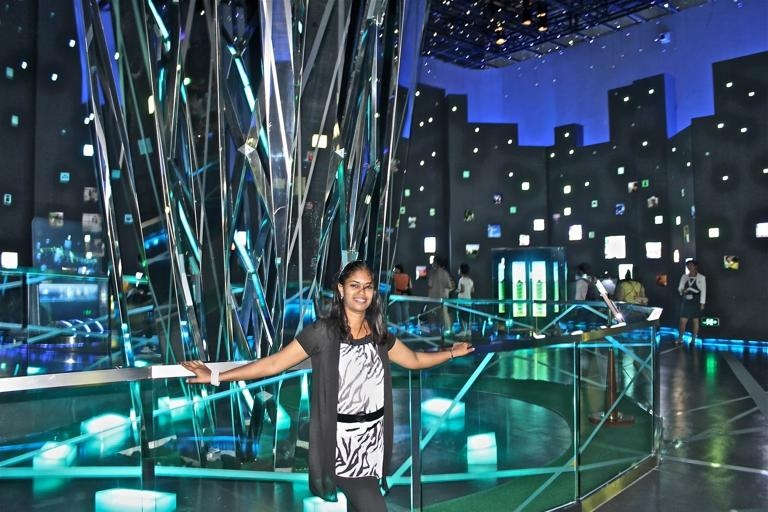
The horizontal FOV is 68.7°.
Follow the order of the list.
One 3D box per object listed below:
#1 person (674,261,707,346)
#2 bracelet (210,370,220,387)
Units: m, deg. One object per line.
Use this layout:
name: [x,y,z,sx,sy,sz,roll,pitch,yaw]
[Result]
person: [7.275,1.098,13.320,0.575,1.967,1.250,-3,-4,28]
bracelet: [-0.994,0.732,3.364,0.063,0.060,0.081,0,-5,0]
